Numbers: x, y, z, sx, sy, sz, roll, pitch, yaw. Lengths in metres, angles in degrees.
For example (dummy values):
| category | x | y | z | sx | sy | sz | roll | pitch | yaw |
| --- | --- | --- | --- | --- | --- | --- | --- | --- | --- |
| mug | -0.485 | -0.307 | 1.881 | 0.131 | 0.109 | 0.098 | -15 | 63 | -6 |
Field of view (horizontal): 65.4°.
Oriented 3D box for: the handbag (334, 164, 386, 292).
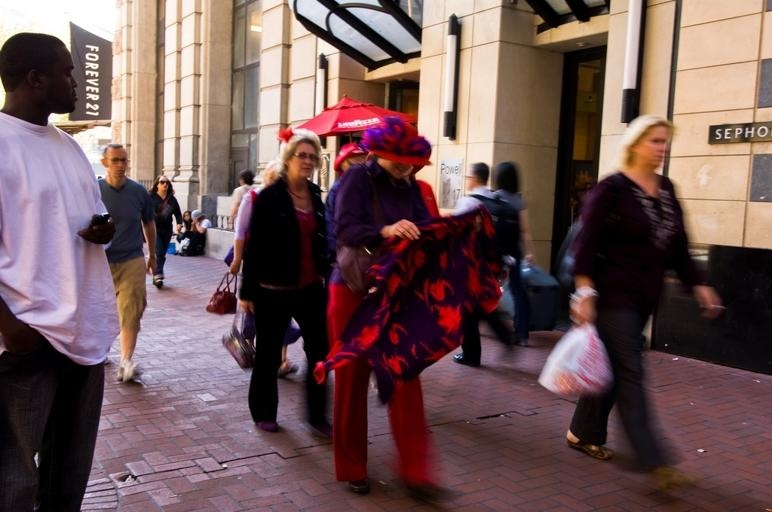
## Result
| category | x | y | z | sx | sy | sz | roll | pitch | yaw |
| --- | --- | --- | --- | --- | --- | --- | --- | --- | --- |
| handbag | -0.166 | -0.189 | 4.063 | 0.324 | 0.894 | 0.317 | -1 | 10 | -18 |

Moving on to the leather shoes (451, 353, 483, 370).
| category | x | y | z | sx | sy | sz | roll | pitch | yaw |
| --- | --- | --- | --- | --- | --- | --- | --- | --- | --- |
| leather shoes | 0.951 | 1.228 | 7.095 | 0.130 | 0.134 | 0.349 | -5 | 15 | -38 |

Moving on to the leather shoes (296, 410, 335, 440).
| category | x | y | z | sx | sy | sz | roll | pitch | yaw |
| --- | --- | --- | --- | --- | --- | --- | --- | --- | --- |
| leather shoes | -0.580 | 1.447 | 5.104 | 0.122 | 0.130 | 0.351 | 0 | 1 | -34 |

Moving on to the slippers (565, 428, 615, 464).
| category | x | y | z | sx | sy | sz | roll | pitch | yaw |
| --- | --- | --- | --- | --- | --- | --- | --- | --- | --- |
| slippers | 1.637 | 1.566 | 4.897 | 0.305 | 0.119 | 0.153 | 2 | 5 | 40 |

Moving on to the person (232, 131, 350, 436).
| category | x | y | z | sx | sy | sz | roll | pitch | yaw |
| --- | --- | --- | --- | --- | --- | --- | --- | --- | --- |
| person | -0.963 | 0.105 | 5.742 | 1.049 | 2.120 | 0.594 | -1 | 24 | -22 |

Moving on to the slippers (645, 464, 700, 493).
| category | x | y | z | sx | sy | sz | roll | pitch | yaw |
| --- | --- | --- | --- | --- | --- | --- | --- | --- | --- |
| slippers | 2.068 | 1.597 | 4.364 | 0.262 | 0.108 | 0.325 | -4 | 4 | 1 |

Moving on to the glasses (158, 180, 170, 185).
| category | x | y | z | sx | sy | sz | roll | pitch | yaw |
| --- | --- | --- | --- | --- | --- | --- | --- | --- | --- |
| glasses | -4.676 | -1.581 | 12.758 | 0.233 | 0.087 | 0.172 | -7 | 13 | -42 |

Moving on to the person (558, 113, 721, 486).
| category | x | y | z | sx | sy | sz | roll | pitch | yaw |
| --- | --- | --- | --- | --- | --- | --- | --- | --- | --- |
| person | 1.831 | 0.338 | 4.350 | 0.939 | 2.682 | 0.793 | -4 | 11 | -29 |

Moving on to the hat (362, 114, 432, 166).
| category | x | y | z | sx | sy | sz | roll | pitch | yaw |
| --- | --- | --- | --- | --- | --- | --- | --- | --- | --- |
| hat | 0.086 | -0.754 | 4.038 | 0.388 | 0.178 | 0.383 | 23 | -1 | 7 |

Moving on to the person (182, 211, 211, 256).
| category | x | y | z | sx | sy | sz | roll | pitch | yaw |
| --- | --- | --- | --- | --- | --- | --- | --- | --- | --- |
| person | -5.219 | -0.648 | 16.524 | 0.733 | 1.192 | 0.901 | -1 | 10 | -16 |

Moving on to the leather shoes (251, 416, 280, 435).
| category | x | y | z | sx | sy | sz | roll | pitch | yaw |
| --- | --- | --- | --- | --- | --- | --- | --- | --- | --- |
| leather shoes | -1.027 | 1.460 | 5.157 | 0.234 | 0.094 | 0.082 | 6 | 7 | 21 |
